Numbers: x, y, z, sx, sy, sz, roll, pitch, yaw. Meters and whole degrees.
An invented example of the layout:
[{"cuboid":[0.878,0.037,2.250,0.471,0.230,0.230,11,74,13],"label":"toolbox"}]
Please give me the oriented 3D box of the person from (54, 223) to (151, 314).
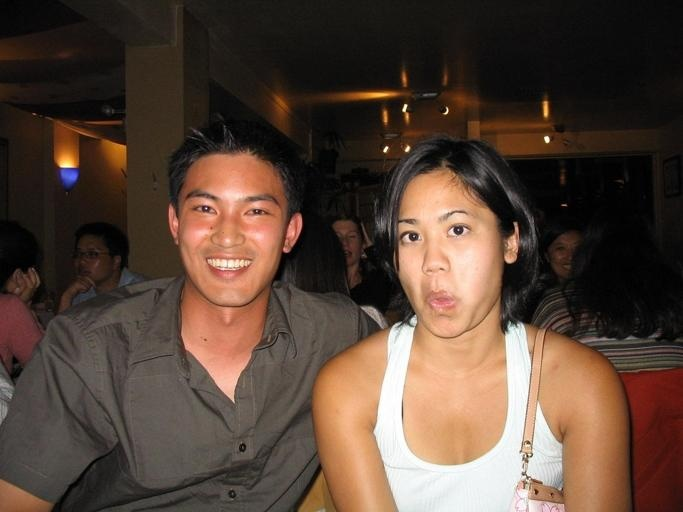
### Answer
[{"cuboid":[-2.297,0.099,4.951,0.691,0.760,0.572,-8,3,-26],"label":"person"}]
